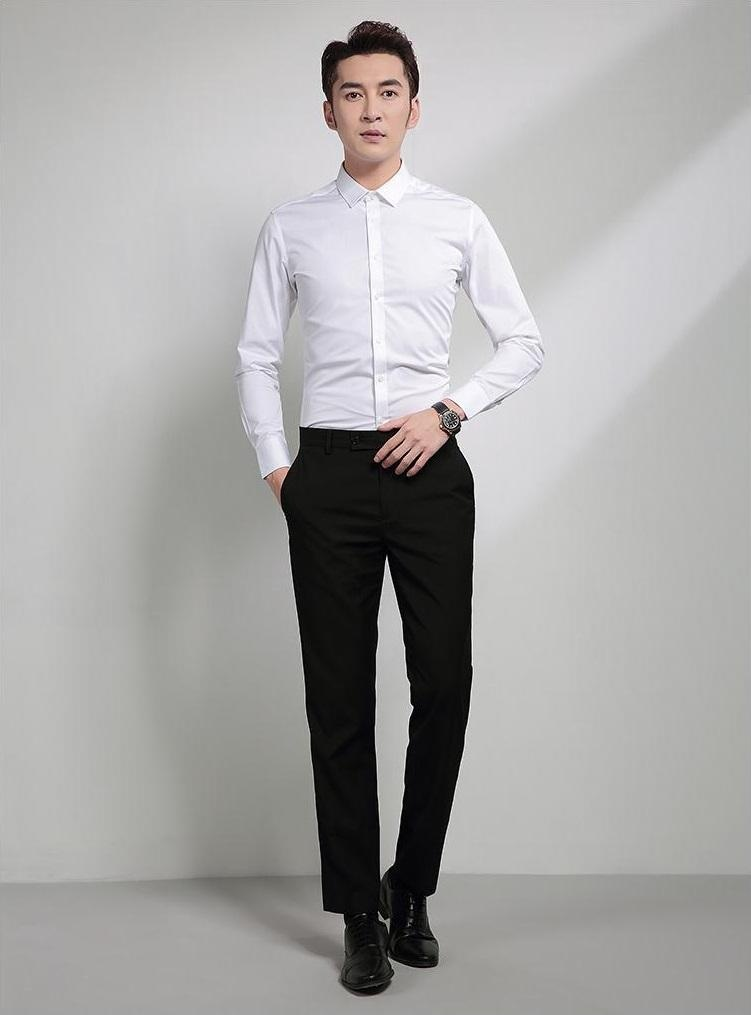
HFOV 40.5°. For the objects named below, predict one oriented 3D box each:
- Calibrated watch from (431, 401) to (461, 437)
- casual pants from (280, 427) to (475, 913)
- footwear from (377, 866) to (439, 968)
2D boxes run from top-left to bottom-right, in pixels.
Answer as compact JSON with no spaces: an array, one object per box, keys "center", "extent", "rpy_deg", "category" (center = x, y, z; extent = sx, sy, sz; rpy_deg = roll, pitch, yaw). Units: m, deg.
[{"center":[0.127,-0.162,1.870],"extent":[0.039,0.065,0.066],"rpy_deg":[-1,-1,38],"category":"Calibrated watch"},{"center":[0.009,0.300,1.966],"extent":[0.387,0.866,0.238],"rpy_deg":[-3,0,-3],"category":"casual pants"},{"center":[0.065,0.791,1.980],"extent":[0.079,0.085,0.195],"rpy_deg":[8,24,-21],"category":"footwear"}]
